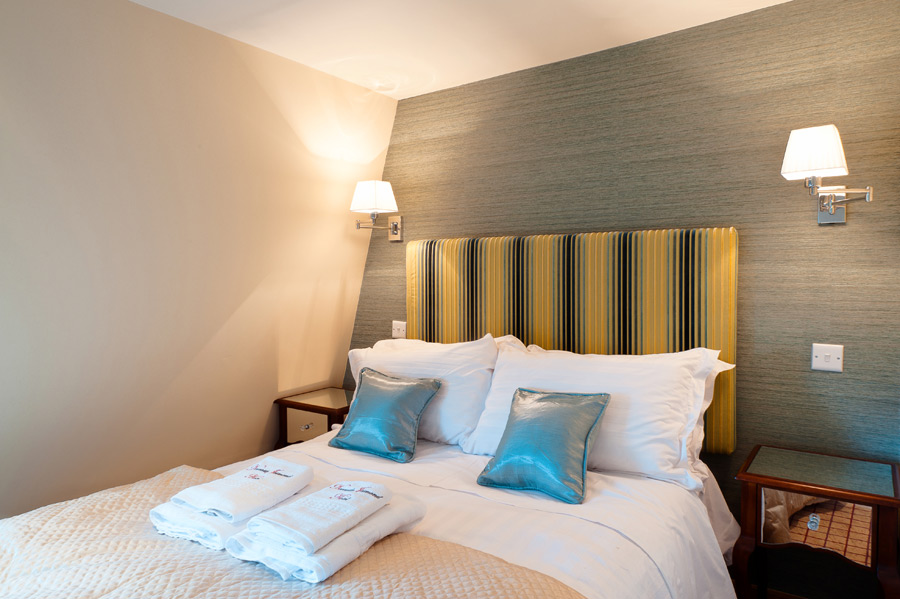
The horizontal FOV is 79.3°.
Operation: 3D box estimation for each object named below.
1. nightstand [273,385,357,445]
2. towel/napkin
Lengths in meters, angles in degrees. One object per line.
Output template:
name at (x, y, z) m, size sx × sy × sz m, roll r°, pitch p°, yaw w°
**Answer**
nightstand at (-0.917, 0.757, 3.769) m, size 0.426 × 0.287 × 0.427 m, roll 1°, pitch 1°, yaw 33°
towel/napkin at (-0.678, 0.863, 2.141) m, size 0.620 × 0.141 × 0.475 m, roll 3°, pitch 5°, yaw 34°
